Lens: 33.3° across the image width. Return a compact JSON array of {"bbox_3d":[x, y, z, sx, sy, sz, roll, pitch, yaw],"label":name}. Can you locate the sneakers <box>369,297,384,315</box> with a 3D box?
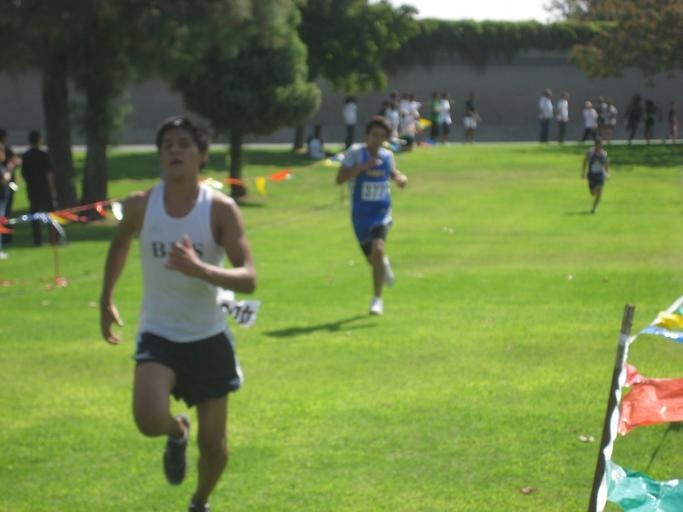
[{"bbox_3d":[0.425,0.636,14.537,0.189,0.213,0.503,0,-5,3],"label":"sneakers"}]

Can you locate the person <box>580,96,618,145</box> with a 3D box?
[{"bbox_3d":[6.179,-3.266,27.440,0.755,1.040,1.071,1,9,12],"label":"person"}]

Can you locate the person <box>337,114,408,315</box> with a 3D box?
[{"bbox_3d":[0.365,-0.465,14.133,0.813,2.498,0.443,-1,9,2],"label":"person"}]

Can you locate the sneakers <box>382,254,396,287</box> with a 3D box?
[{"bbox_3d":[0.535,0.195,14.579,0.148,0.423,0.183,-5,37,15],"label":"sneakers"}]

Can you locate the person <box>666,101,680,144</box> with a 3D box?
[{"bbox_3d":[7.946,-3.233,27.479,0.262,1.024,2.311,2,9,16],"label":"person"}]

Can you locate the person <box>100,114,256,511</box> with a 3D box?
[{"bbox_3d":[-1.461,0.527,10.434,1.139,3.547,0.899,-4,9,-21],"label":"person"}]

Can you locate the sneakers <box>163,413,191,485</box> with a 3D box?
[{"bbox_3d":[-1.495,1.739,10.418,0.225,0.622,0.272,-1,9,-5],"label":"sneakers"}]
